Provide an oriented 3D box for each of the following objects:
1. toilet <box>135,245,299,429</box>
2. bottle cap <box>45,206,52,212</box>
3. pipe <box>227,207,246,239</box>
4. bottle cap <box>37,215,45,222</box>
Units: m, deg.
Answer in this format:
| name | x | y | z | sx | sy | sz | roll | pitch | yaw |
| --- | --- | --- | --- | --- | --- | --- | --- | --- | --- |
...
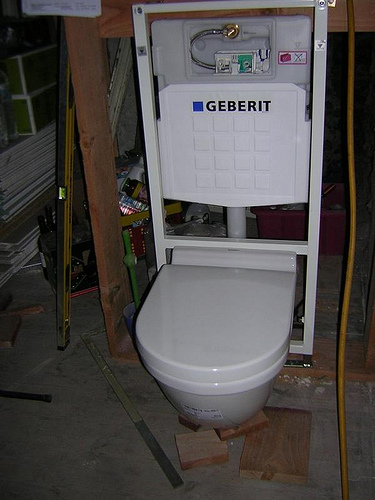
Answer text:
| name | x | y | z | sx | sy | sz | roll | pitch | yaw |
| --- | --- | --- | --- | --- | --- | --- | --- | --- | --- |
| toilet | 0.085 | 0.219 | 1.106 | 0.402 | 0.299 | 0.520 | 6 | 30 | 18 |
| bottle cap | -0.652 | -0.193 | 1.941 | 0.021 | 0.023 | 0.020 | 9 | 49 | 3 |
| pipe | 0.149 | -0.078 | 1.273 | 0.054 | 0.104 | 0.081 | -3 | 25 | 5 |
| bottle cap | -0.687 | -0.146 | 1.938 | 0.039 | 0.036 | 0.056 | 0 | 4 | -21 |
